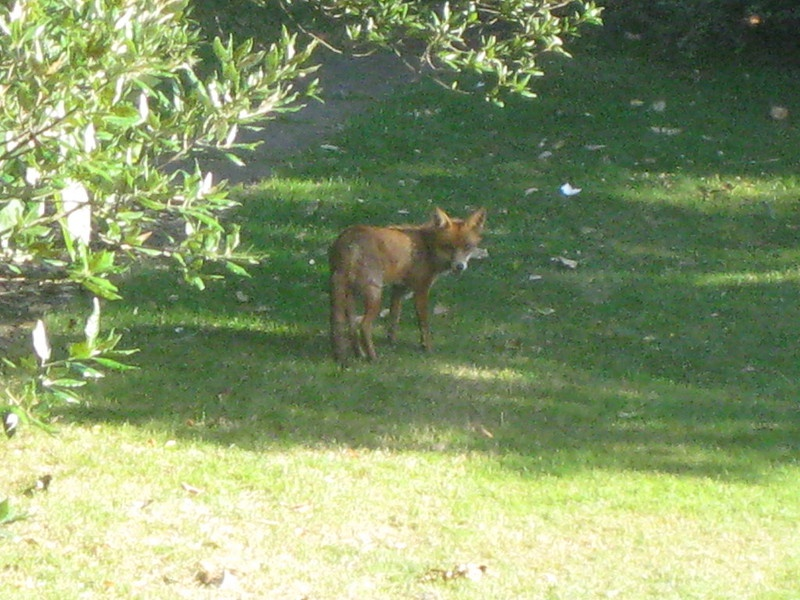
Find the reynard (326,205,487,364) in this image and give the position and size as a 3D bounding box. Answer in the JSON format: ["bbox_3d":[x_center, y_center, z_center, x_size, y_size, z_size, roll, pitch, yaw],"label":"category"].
[{"bbox_3d":[-0.015,-0.283,16.390,0.922,2.019,3.295,7,10,36],"label":"reynard"}]
